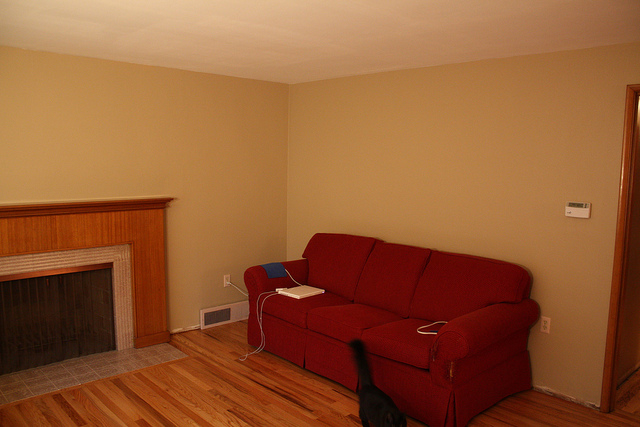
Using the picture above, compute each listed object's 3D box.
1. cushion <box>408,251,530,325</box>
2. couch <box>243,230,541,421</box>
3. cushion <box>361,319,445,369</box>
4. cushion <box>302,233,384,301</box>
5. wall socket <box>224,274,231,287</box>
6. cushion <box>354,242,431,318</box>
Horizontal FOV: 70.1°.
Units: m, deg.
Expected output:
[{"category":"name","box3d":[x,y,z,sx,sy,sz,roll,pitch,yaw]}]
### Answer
[{"category":"cushion","box3d":[1.373,0.738,4.335,0.928,0.583,0.428,5,8,39]},{"category":"couch","box3d":[0.688,1.044,4.602,2.500,1.348,1.271,5,8,39]},{"category":"cushion","box3d":[0.730,1.156,4.124,0.650,0.254,0.494,3,6,25]},{"category":"cushion","box3d":[0.274,0.605,5.344,0.603,0.711,1.021,-21,17,-38]},{"category":"wall socket","box3d":[-1.143,0.829,5.645,0.093,0.137,0.017,-6,9,-40]},{"category":"cushion","box3d":[0.809,0.676,4.781,0.275,0.703,0.751,22,-6,-42]}]
